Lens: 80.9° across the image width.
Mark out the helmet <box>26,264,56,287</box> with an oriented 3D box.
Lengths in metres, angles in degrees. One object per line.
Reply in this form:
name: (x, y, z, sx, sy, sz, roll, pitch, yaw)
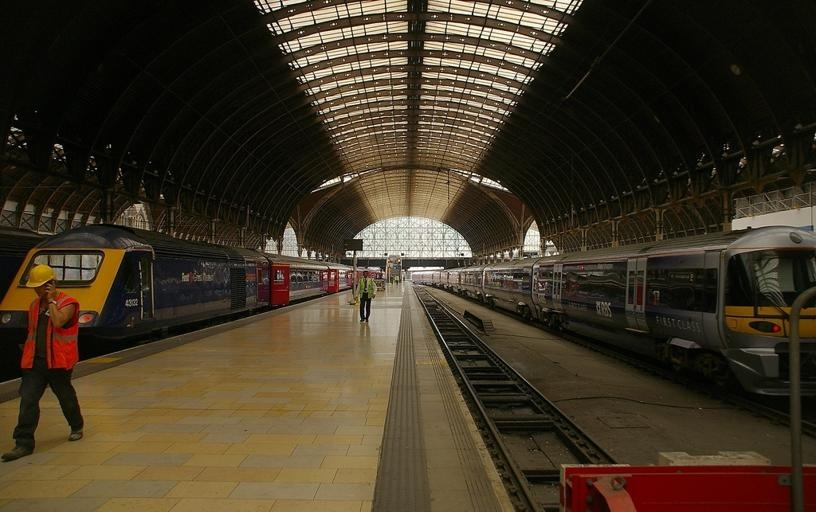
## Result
helmet: (-6.669, 0.363, 8.746, 0.341, 0.429, 0.420, -1, 7, -43)
